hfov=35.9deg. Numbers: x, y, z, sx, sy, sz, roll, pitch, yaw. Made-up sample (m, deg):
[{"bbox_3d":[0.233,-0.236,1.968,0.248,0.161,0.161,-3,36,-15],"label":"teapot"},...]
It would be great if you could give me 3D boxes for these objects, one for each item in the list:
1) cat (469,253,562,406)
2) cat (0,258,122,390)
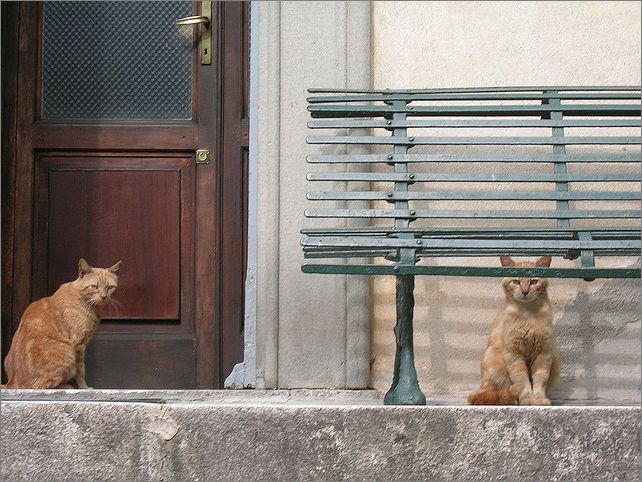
[{"bbox_3d":[0.932,0.484,4.779,0.418,0.600,0.324,1,6,13],"label":"cat"},{"bbox_3d":[-1.301,0.420,4.960,0.631,0.638,0.264,-6,8,-42],"label":"cat"}]
